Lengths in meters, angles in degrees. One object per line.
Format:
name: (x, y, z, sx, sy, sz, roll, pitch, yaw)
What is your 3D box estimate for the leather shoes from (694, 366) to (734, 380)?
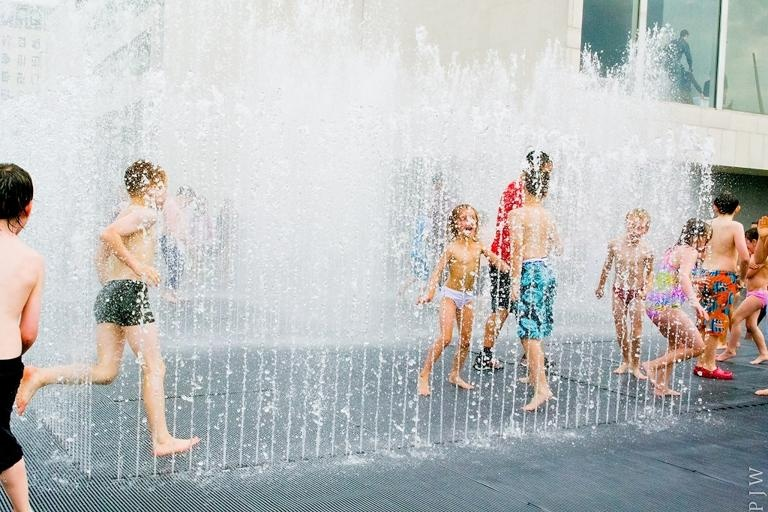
leather shoes: (3.847, 1.375, 9.674, 0.427, 0.128, 0.169, 0, 2, 2)

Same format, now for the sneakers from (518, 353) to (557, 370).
sneakers: (1.762, 1.243, 9.753, 0.176, 0.221, 0.519, 4, -9, -24)

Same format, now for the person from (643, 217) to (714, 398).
person: (3.119, 0.542, 8.811, 0.593, 1.879, 0.601, 5, 8, 19)

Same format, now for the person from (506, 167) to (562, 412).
person: (1.577, 0.303, 8.444, 0.576, 2.432, 0.701, 2, 7, -4)

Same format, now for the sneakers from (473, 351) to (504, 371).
sneakers: (1.250, 1.198, 9.520, 0.427, 0.291, 0.157, -3, 6, -25)

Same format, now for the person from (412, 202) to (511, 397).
person: (0.825, 0.433, 8.755, 0.824, 1.949, 0.997, 4, 7, 8)
